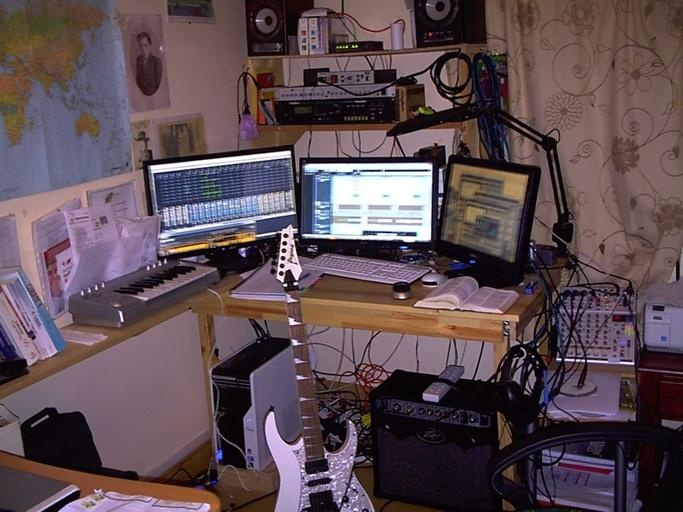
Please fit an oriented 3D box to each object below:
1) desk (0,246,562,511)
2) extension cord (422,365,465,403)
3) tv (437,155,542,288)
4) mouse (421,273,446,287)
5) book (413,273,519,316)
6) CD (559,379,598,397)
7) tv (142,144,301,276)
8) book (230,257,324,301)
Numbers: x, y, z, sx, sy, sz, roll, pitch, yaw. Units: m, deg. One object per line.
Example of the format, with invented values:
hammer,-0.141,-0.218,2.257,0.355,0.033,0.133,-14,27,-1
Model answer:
desk,-0.060,0.282,2.470,1.413,0.946,1.317,5,13,21
extension cord,0.515,0.597,2.736,0.092,0.057,0.331,4,17,25
tv,0.694,-0.152,2.636,0.291,0.568,0.475,-13,22,-35
mouse,0.440,0.105,2.634,0.061,0.030,0.090,1,13,26
book,0.571,0.174,2.504,0.442,0.089,0.244,6,19,18
CD,1.129,0.637,2.645,0.179,0.024,0.147,3,19,9
tv,-0.644,-0.233,2.929,0.597,0.486,0.179,-10,15,-18
book,-0.346,0.143,2.751,0.240,0.055,0.265,-9,33,31
